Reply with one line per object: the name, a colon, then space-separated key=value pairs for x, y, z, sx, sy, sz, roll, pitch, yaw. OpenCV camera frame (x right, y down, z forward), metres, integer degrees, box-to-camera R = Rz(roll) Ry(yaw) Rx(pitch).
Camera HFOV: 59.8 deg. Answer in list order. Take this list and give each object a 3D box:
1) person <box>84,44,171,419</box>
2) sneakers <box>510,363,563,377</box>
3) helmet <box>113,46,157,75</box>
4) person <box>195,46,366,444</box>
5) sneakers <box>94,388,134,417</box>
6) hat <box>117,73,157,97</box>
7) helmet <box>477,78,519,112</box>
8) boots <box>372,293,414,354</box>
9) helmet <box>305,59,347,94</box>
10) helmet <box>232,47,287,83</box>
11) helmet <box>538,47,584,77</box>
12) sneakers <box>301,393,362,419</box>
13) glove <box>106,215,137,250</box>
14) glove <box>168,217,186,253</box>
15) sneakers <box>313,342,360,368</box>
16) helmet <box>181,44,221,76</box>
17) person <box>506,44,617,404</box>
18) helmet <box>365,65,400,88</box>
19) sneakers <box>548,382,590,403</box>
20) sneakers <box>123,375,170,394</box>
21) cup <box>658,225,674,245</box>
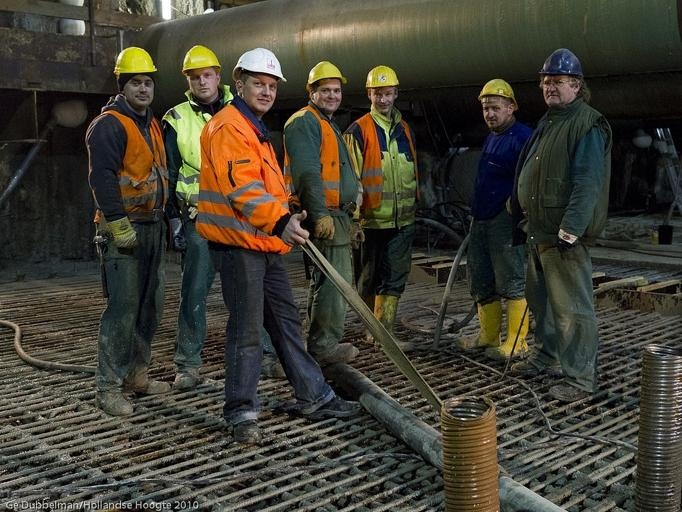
person: x=-1.387 y=-0.173 z=3.845 sx=0.370 sy=2.287 sz=0.696 roll=0 pitch=12 yaw=12
sneakers: x=1.433 y=0.808 z=4.336 sx=0.327 sy=0.137 sz=0.127 roll=4 pitch=-1 yaw=3
helmet: x=-1.344 y=-1.267 z=3.856 sx=0.235 sy=0.192 sz=0.299 roll=-7 pitch=13 yaw=-20
person: x=-0.448 y=-0.048 z=3.427 sx=0.722 sy=2.216 sz=0.502 roll=-5 pitch=12 yaw=-14
sneakers: x=-1.438 y=0.939 z=3.767 sx=0.298 sy=0.123 sz=0.113 roll=7 pitch=11 yaw=29
hat: x=-1.292 y=-1.087 z=3.779 sx=0.152 sy=0.152 sz=0.193 roll=-7 pitch=22 yaw=-24
helmet: x=1.249 y=-1.298 z=4.703 sx=0.255 sy=0.205 sz=0.373 roll=11 pitch=14 yaw=40
boots: x=0.455 y=0.549 z=5.049 sx=0.383 sy=0.513 sz=0.170 roll=13 pitch=28 yaw=12
helmet: x=-0.123 y=-1.338 z=4.383 sx=0.322 sy=0.207 sz=0.394 roll=-2 pitch=1 yaw=-15
helmet: x=-0.433 y=-1.120 z=3.427 sx=0.263 sy=0.176 sz=0.359 roll=9 pitch=6 yaw=-20
helmet: x=1.486 y=-1.301 z=4.002 sx=0.250 sy=0.211 sz=0.366 roll=3 pitch=13 yaw=22
sneakers: x=-0.056 y=0.926 z=3.730 sx=0.397 sy=0.197 sz=0.147 roll=-2 pitch=-5 yaw=-4
glove: x=-1.346 y=-0.135 z=3.671 sx=0.134 sy=0.175 sz=0.102 roll=-23 pitch=16 yaw=-40
glove: x=-1.171 y=-0.177 z=4.197 sx=0.111 sy=0.160 sz=0.067 roll=16 pitch=-16 yaw=14
sneakers: x=-0.046 y=0.726 z=4.303 sx=0.231 sy=0.078 sz=0.162 roll=-19 pitch=-6 yaw=-19
helmet: x=-1.001 y=-1.415 z=4.308 sx=0.259 sy=0.182 sz=0.343 roll=-3 pitch=4 yaw=1
person: x=1.517 y=-0.221 z=4.032 sx=0.485 sy=2.273 sz=0.708 roll=-6 pitch=12 yaw=-17
helmet: x=0.337 y=-1.464 z=4.831 sx=0.206 sy=0.140 sz=0.267 roll=-1 pitch=15 yaw=5
sneakers: x=1.503 y=0.886 z=3.930 sx=0.208 sy=0.092 sz=0.124 roll=5 pitch=7 yaw=24
sneakers: x=-1.321 y=0.894 z=4.115 sx=0.341 sy=0.147 sz=0.118 roll=-2 pitch=4 yaw=-6
cup: x=4.941 y=-0.317 z=9.071 sx=0.202 sy=0.291 sz=0.372 roll=4 pitch=14 yaw=28
